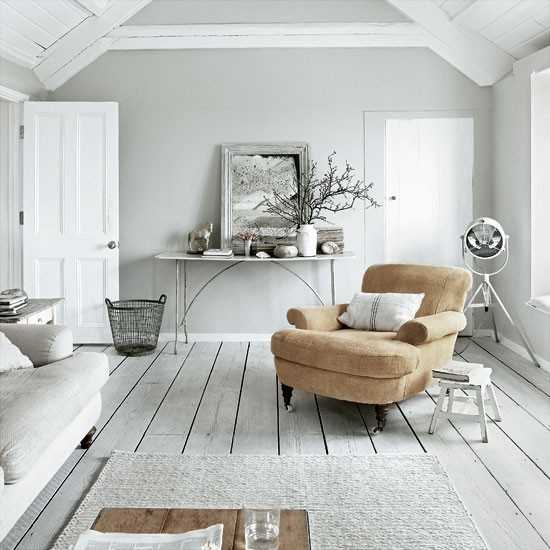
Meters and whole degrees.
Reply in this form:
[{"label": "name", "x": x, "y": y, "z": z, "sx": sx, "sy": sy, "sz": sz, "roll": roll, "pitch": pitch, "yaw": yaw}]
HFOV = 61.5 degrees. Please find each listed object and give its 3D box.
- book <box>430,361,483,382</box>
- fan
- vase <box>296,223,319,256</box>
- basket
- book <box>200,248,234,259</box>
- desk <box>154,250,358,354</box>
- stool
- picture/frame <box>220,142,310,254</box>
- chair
[{"label": "book", "x": 0.989, "y": 0.524, "z": 2.523, "sx": 0.208, "sy": 0.061, "sz": 0.279, "roll": 4, "pitch": 6, "yaw": 35}, {"label": "fan", "x": 1.777, "y": 0.096, "z": 4.007, "sx": 0.687, "sy": 1.151, "sz": 0.678, "roll": -2, "pitch": 7, "yaw": 12}, {"label": "vase", "x": 0.265, "y": -0.303, "z": 4.019, "sx": 0.168, "sy": 0.274, "sz": 0.140, "roll": 0, "pitch": 6, "yaw": 0}, {"label": "basket", "x": -1.145, "y": 0.423, "z": 4.122, "sx": 0.542, "sy": 0.495, "sz": 0.490, "roll": 0, "pitch": 0, "yaw": 4}, {"label": "book", "x": -0.504, "y": -0.182, "z": 3.996, "sx": 0.252, "sy": 0.065, "sz": 0.157, "roll": 0, "pitch": 5, "yaw": -4}, {"label": "desk", "x": -0.175, "y": 0.213, "z": 4.279, "sx": 1.724, "sy": 0.820, "sz": 0.410, "roll": -1, "pitch": -4, "yaw": -2}, {"label": "stool", "x": 1.043, "y": 0.693, "z": 2.571, "sx": 0.372, "sy": 0.403, "sz": 0.440, "roll": -1, "pitch": -2, "yaw": 19}, {"label": "picture/frame", "x": -0.102, "y": -0.743, "z": 4.265, "sx": 1.079, "sy": 1.396, "sz": 0.113, "roll": 0, "pitch": 3, "yaw": 1}, {"label": "chair", "x": 0.614, "y": 0.374, "z": 2.942, "sx": 0.993, "sy": 0.852, "sz": 1.154, "roll": 2, "pitch": 6, "yaw": 38}]
